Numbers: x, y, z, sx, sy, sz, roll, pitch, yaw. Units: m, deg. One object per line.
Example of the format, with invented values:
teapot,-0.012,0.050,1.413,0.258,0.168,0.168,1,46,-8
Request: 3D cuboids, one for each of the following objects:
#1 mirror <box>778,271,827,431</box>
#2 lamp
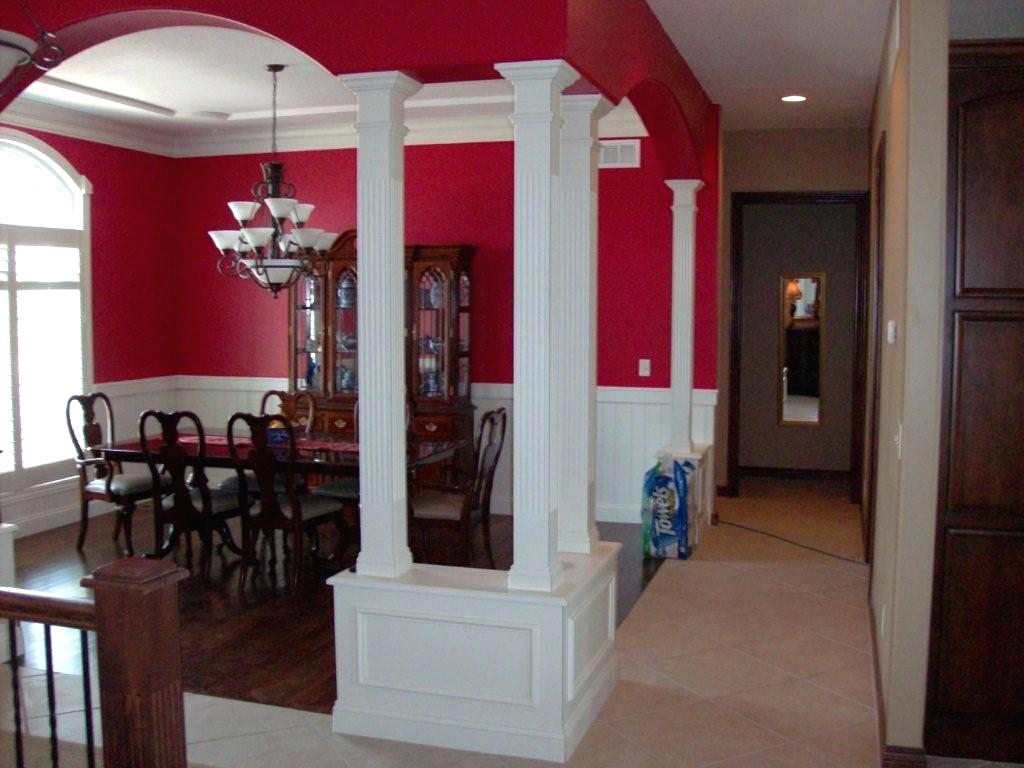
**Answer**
mirror,3.197,-0.393,8.984,0.435,1.643,0.119,2,6,20
lamp,-1.818,-1.551,6.113,0.906,1.792,0.864,-2,4,-34
